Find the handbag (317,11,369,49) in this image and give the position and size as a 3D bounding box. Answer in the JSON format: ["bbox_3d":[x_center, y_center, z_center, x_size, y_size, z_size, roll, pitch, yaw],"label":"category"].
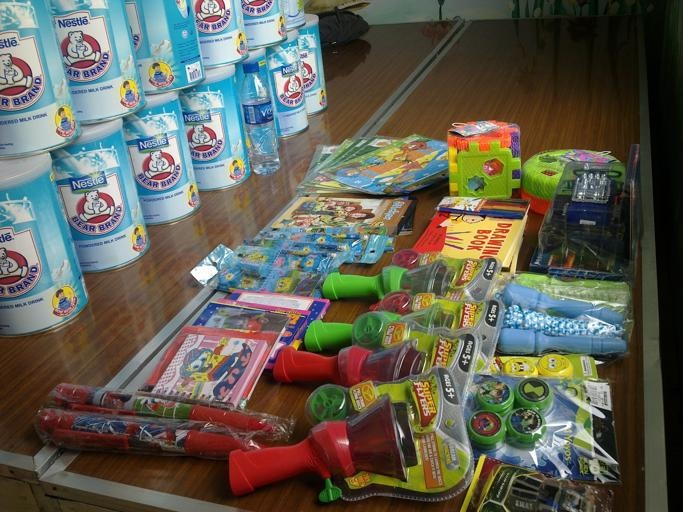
[{"bbox_3d":[0.020,-0.995,2.202,0.232,0.076,0.180,-6,38,-6],"label":"handbag"}]
